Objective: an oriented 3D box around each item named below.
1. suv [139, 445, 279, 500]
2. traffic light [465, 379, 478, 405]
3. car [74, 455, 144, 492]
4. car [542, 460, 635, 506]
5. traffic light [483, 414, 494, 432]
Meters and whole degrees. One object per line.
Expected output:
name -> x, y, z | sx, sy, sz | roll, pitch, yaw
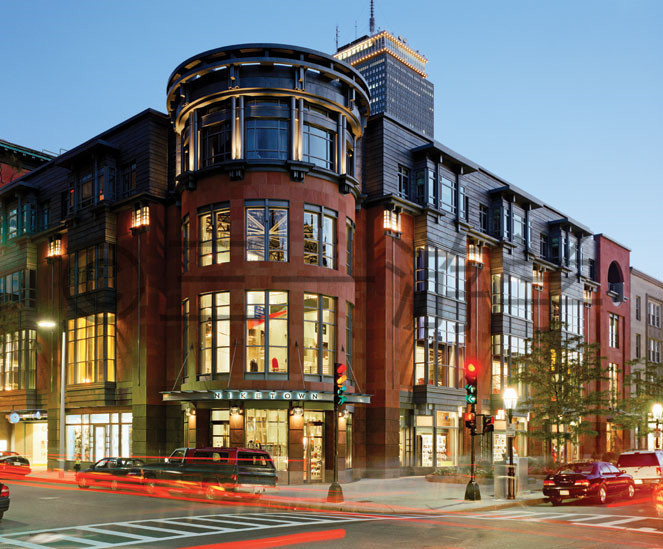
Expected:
suv -> -5.782, 9.584, 62.125 | 6.078, 2.437, 1.402 | -9, -17, 26
traffic light -> 6.921, 5.807, 62.435 | 0.505, 1.287, 0.823 | -1, -15, 0
car -> -11.090, 10.333, 65.754 | 3.465, 1.251, 1.763 | -4, -13, 33
car -> 13.071, 10.269, 62.649 | 1.949, 1.406, 4.325 | -6, -8, 42
traffic light -> 7.804, 7.336, 62.689 | 0.468, 0.942, 1.133 | -3, -16, 7
